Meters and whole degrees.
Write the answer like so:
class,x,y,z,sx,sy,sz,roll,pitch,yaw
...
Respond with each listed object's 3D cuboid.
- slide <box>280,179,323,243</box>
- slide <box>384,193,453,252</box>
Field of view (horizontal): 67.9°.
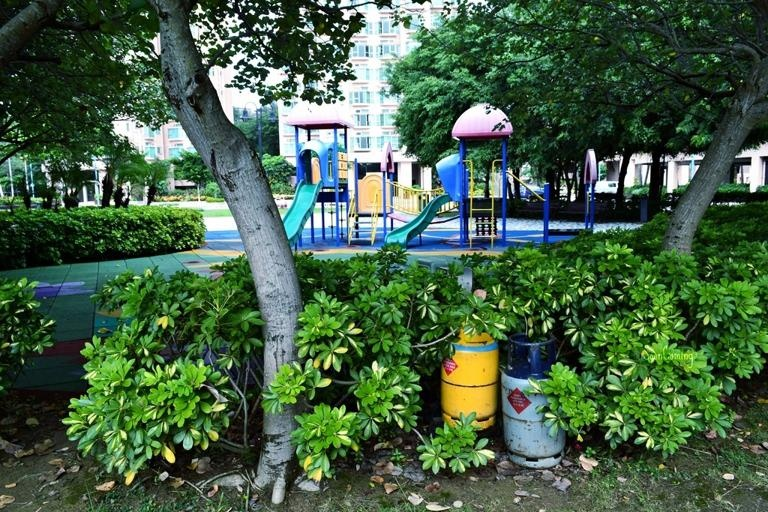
class,x,y,z,sx,sy,sz,roll,pitch,yaw
slide,-1.946,-0.916,13.945,0.963,1.583,2.921,-3,13,-6
slide,1.222,-0.833,15.124,0.539,1.317,3.286,-16,7,-30
